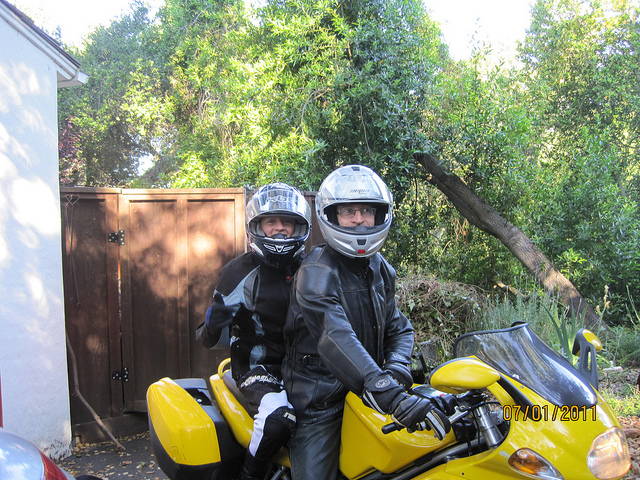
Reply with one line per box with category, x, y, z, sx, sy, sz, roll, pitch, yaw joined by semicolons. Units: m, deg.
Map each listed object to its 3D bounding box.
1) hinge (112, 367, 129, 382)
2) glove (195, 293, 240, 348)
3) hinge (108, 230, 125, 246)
hinge;-2.575;1.721;6.970;0.203;0.186;0.013;3;0;-6
glove;-0.946;0.663;4.845;0.167;0.479;0.359;21;-10;48
hinge;-2.650;-0.041;7.029;0.204;0.202;0.023;3;0;-11
